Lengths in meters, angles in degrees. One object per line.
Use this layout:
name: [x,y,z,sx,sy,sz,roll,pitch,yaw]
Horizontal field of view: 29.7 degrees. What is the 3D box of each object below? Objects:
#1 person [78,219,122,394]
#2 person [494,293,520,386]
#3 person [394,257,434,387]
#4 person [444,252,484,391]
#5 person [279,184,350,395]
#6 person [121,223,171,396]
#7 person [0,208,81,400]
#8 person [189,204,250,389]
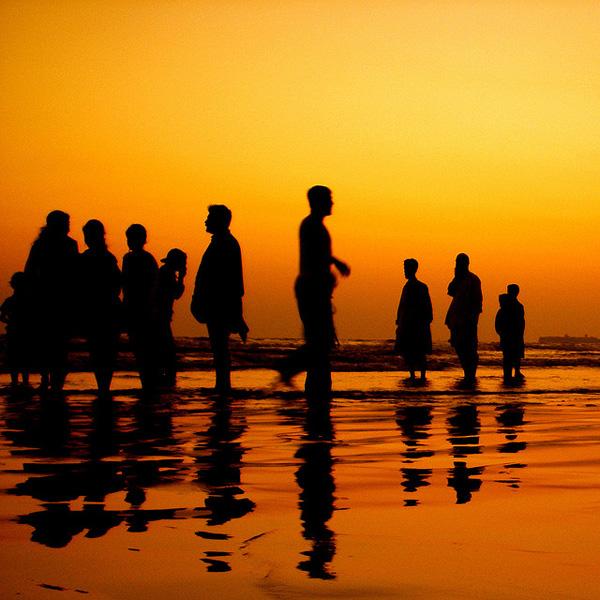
person: [-1.805,0.035,10.236,0.351,1.602,0.494,-1,-5,-8]
person: [3.135,0.443,16.622,0.404,1.395,0.969,-3,-5,10]
person: [1.597,0.252,15.640,0.532,1.645,0.802,-2,-5,4]
person: [2.237,0.223,15.167,0.470,1.739,0.739,-2,-5,6]
person: [0.138,-0.086,9.478,0.407,1.768,0.545,0,-5,-19]
person: [-1.548,0.064,11.027,0.371,1.630,0.293,-1,-5,-7]
person: [-2.189,-0.005,9.932,0.428,1.613,0.517,-3,-5,14]
person: [-0.776,-0.040,10.951,0.539,1.824,0.348,-1,-5,-7]
